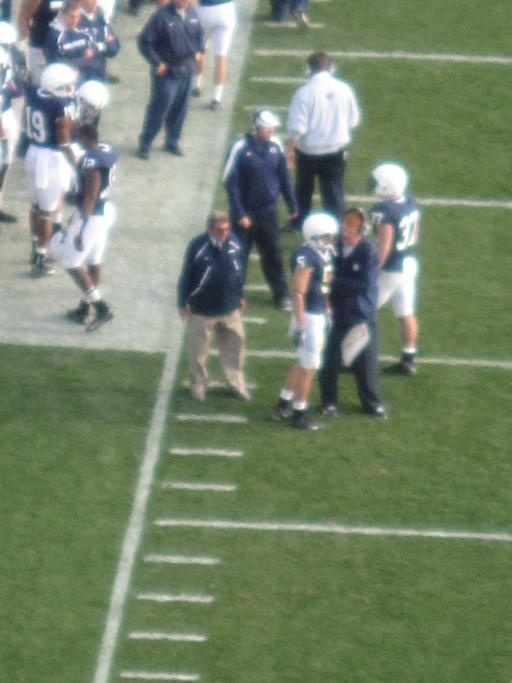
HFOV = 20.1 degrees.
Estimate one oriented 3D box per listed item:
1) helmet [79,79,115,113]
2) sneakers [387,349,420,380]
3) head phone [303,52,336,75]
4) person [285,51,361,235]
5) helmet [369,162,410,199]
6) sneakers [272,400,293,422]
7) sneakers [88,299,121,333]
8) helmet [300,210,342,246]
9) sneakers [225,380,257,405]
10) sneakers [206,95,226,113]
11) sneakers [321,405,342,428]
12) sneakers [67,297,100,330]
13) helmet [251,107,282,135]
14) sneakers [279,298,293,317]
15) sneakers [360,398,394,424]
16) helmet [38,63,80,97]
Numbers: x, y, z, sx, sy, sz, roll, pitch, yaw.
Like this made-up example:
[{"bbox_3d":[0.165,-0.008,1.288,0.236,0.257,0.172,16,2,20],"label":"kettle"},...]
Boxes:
[{"bbox_3d":[-1.214,-1.830,10.716,0.216,0.237,0.262,4,22,-12],"label":"helmet"},{"bbox_3d":[1.110,0.125,10.488,0.289,0.216,0.114,20,44,30],"label":"sneakers"},{"bbox_3d":[0.527,-2.169,11.258,0.159,0.198,0.194,-15,12,0],"label":"head phone"},{"bbox_3d":[0.525,-1.630,11.542,0.569,1.555,0.526,-5,39,-11],"label":"person"},{"bbox_3d":[0.923,-1.083,9.854,0.228,0.261,0.163,6,21,-7],"label":"helmet"},{"bbox_3d":[0.192,0.479,9.938,0.115,0.113,0.054,45,37,17],"label":"sneakers"},{"bbox_3d":[-1.146,-0.211,10.736,0.277,0.234,0.076,-11,28,-41],"label":"sneakers"},{"bbox_3d":[0.437,-0.753,9.390,0.219,0.212,0.316,11,22,6],"label":"helmet"},{"bbox_3d":[-0.106,0.347,10.135,0.152,0.123,0.057,8,56,16],"label":"sneakers"},{"bbox_3d":[-0.382,-2.273,13.728,0.103,0.135,0.131,-1,55,-19],"label":"sneakers"},{"bbox_3d":[0.533,0.520,9.999,0.101,0.145,0.048,-1,-3,5],"label":"sneakers"},{"bbox_3d":[-1.281,-0.206,10.760,0.075,0.176,0.183,-20,57,-18],"label":"sneakers"},{"bbox_3d":[0.080,-1.587,10.377,0.213,0.178,0.315,-1,9,-13],"label":"helmet"},{"bbox_3d":[0.243,-0.281,11.158,0.055,0.187,0.123,-5,8,2],"label":"sneakers"},{"bbox_3d":[0.858,0.468,10.012,0.155,0.148,0.127,-24,-3,28],"label":"sneakers"},{"bbox_3d":[-1.446,-1.920,10.703,0.250,0.285,0.202,11,-21,9],"label":"helmet"}]
